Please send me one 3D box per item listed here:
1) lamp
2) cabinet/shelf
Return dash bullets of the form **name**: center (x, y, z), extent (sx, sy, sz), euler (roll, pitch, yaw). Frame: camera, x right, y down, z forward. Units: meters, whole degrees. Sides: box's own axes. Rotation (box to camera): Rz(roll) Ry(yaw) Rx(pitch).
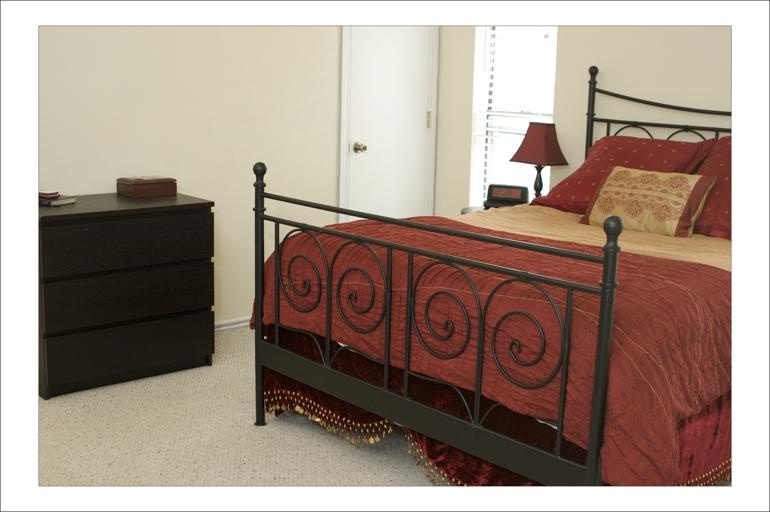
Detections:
- **lamp**: center (1.108, -0.649, 4.060), extent (0.327, 0.562, 0.316), euler (15, 18, 42)
- **cabinet/shelf**: center (-1.707, 0.199, 3.354), extent (0.727, 1.067, 1.231), euler (8, 7, 22)
